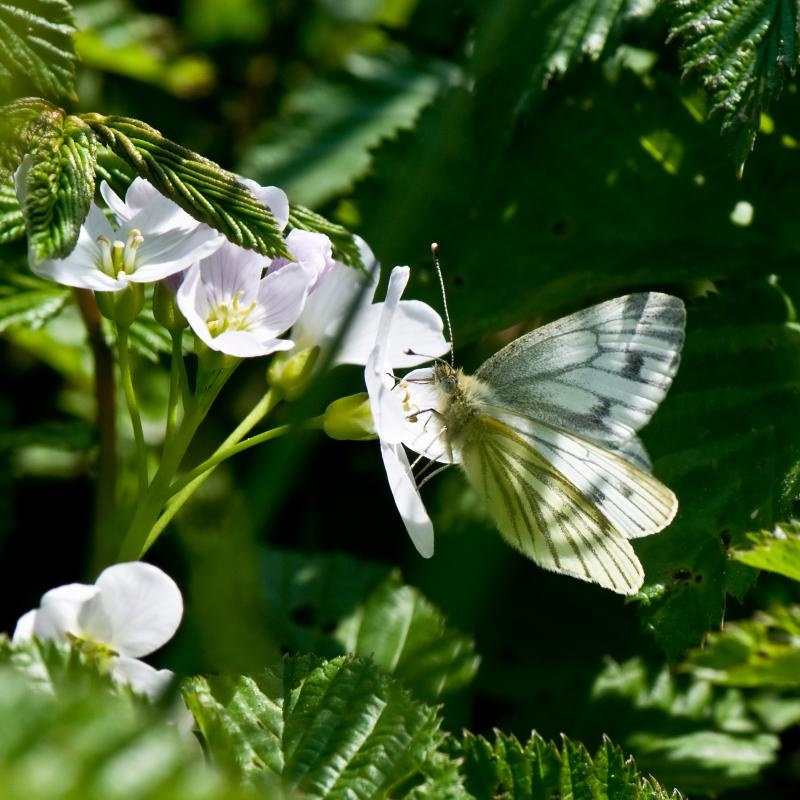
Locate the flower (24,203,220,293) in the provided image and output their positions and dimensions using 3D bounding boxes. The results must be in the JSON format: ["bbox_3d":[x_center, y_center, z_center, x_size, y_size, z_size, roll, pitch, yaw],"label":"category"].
[{"bbox_3d":[-0.494,-0.277,1.833,0.284,0.120,0.243,7,7,32],"label":"flower"}]

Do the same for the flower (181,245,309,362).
[{"bbox_3d":[-0.301,-0.144,1.873,0.205,0.129,0.209,33,62,-4],"label":"flower"}]

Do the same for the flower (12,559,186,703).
[{"bbox_3d":[-0.476,0.331,1.687,0.230,0.255,0.129,6,6,-17],"label":"flower"}]
